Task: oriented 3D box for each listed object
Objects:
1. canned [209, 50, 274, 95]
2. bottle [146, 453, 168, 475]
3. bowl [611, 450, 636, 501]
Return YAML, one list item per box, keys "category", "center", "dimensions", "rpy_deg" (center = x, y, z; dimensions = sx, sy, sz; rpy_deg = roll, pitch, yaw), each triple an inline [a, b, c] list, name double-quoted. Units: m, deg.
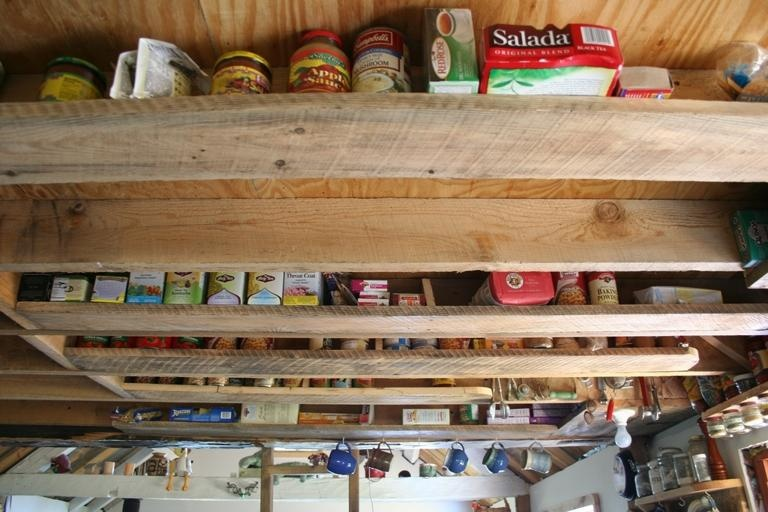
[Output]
- category: "canned"
  center: [-0.483, -0.639, 1.998]
  dimensions: [0.224, 0.089, 0.153]
  rpy_deg: [0, 21, -7]
- category: "bottle"
  center: [-3.390, 3.127, 8.340]
  dimensions: [0.252, 0.279, 0.926]
  rpy_deg: [3, -10, -23]
- category: "bowl"
  center: [1.863, 1.687, 4.265]
  dimensions: [0.168, 0.364, 0.213]
  rpy_deg: [-7, -15, 15]
